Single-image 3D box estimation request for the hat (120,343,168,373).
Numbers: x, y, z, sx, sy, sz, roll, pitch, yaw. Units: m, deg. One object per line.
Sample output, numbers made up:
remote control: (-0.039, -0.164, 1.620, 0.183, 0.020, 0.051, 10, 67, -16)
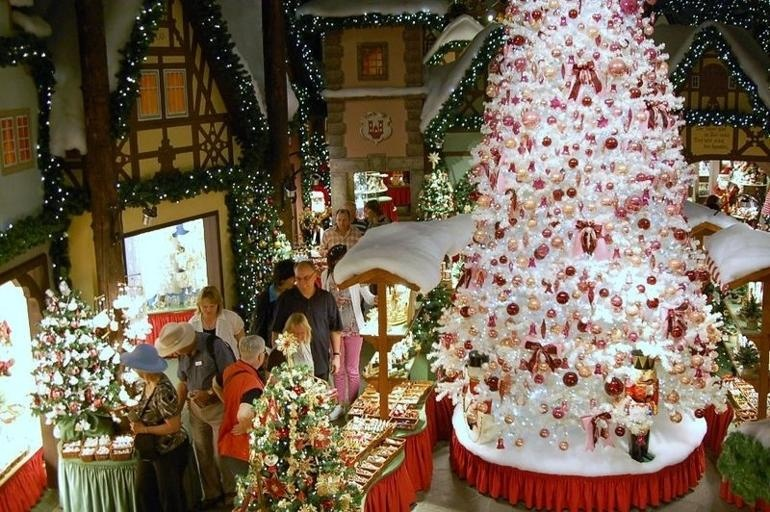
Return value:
hat: (-2.690, 1.129, 7.023, 0.362, 0.137, 0.364, 27, 17, 33)
